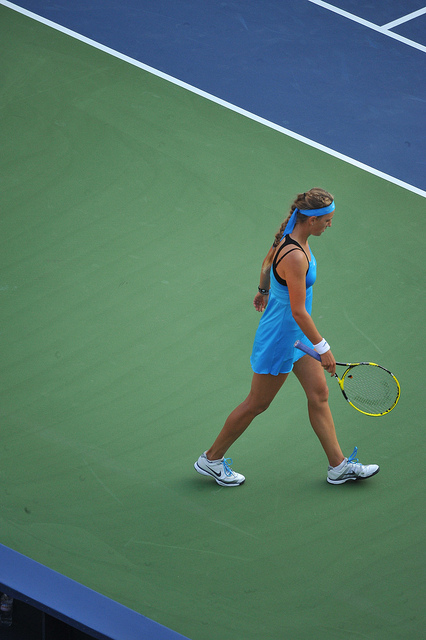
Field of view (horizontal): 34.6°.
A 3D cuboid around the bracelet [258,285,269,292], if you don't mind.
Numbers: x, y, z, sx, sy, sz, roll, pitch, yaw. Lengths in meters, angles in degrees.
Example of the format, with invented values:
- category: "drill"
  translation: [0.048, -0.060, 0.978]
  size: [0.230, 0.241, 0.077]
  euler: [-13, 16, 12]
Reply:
- category: "bracelet"
  translation: [0.363, -0.227, 4.829]
  size: [0.059, 0.019, 0.061]
  euler: [19, 6, 41]

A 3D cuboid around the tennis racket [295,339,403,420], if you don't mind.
- category: "tennis racket"
  translation: [0.929, 0.433, 4.717]
  size: [0.708, 0.276, 0.051]
  euler: [27, 8, -36]

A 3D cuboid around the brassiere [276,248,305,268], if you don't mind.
- category: "brassiere"
  translation: [0.439, -0.378, 4.064]
  size: [0.075, 0.114, 0.171]
  euler: [19, 2, -25]
